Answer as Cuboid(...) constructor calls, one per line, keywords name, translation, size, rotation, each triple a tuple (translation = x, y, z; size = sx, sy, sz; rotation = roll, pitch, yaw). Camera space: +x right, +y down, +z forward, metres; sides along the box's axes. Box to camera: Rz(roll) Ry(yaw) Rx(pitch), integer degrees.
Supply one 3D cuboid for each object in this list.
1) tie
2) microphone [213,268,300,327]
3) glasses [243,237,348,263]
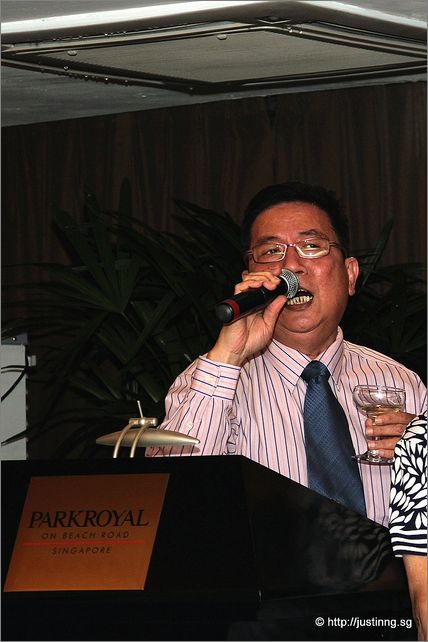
Cuboid(name="tie", translation=(0.267, 0.265, 1.290), size=(0.104, 0.352, 0.051), rotation=(-20, -46, 22))
Cuboid(name="microphone", translation=(0.078, -0.045, 1.148), size=(0.080, 0.076, 0.263), rotation=(-26, -3, 35))
Cuboid(name="glasses", translation=(0.218, -0.186, 1.445), size=(0.256, 0.045, 0.123), rotation=(-6, 3, 7))
